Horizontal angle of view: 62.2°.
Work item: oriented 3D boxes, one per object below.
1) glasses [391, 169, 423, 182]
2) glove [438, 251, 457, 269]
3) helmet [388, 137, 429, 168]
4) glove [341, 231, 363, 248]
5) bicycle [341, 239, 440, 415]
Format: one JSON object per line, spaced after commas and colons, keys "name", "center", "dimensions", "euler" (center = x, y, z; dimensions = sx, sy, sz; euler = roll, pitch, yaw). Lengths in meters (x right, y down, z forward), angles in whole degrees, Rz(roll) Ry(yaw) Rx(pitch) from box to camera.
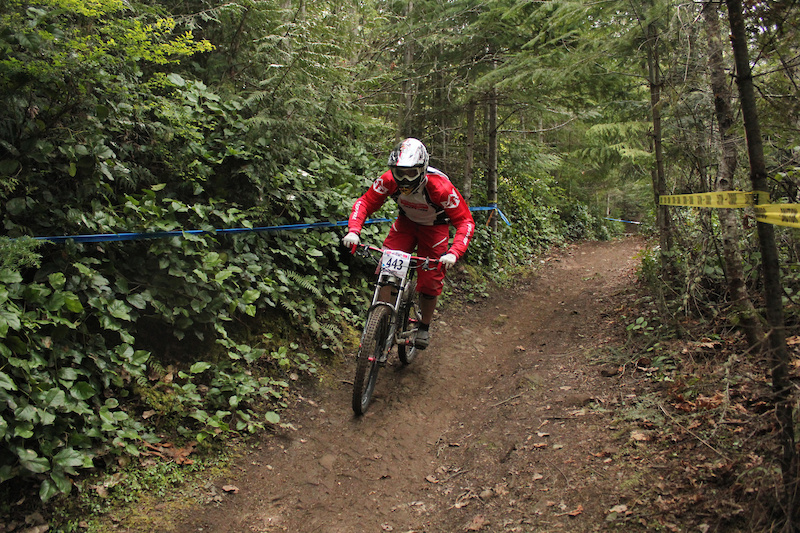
{"name": "glasses", "center": [0.091, -1.112, 7.969], "dimensions": [0.336, 0.175, 0.169], "euler": [-7, 9, 2]}
{"name": "glove", "center": [0.572, -0.090, 7.986], "dimensions": [0.227, 0.167, 0.318], "euler": [-7, 9, 4]}
{"name": "helmet", "center": [0.115, -1.377, 8.023], "dimensions": [0.307, 0.348, 0.545], "euler": [1, 12, 43]}
{"name": "glove", "center": [-0.606, -0.325, 8.154], "dimensions": [0.192, 0.206, 0.243], "euler": [-8, 9, -7]}
{"name": "bicycle", "center": [-0.054, 0.673, 8.292], "dimensions": [0.936, 2.024, 1.598], "euler": [-4, 9, 22]}
